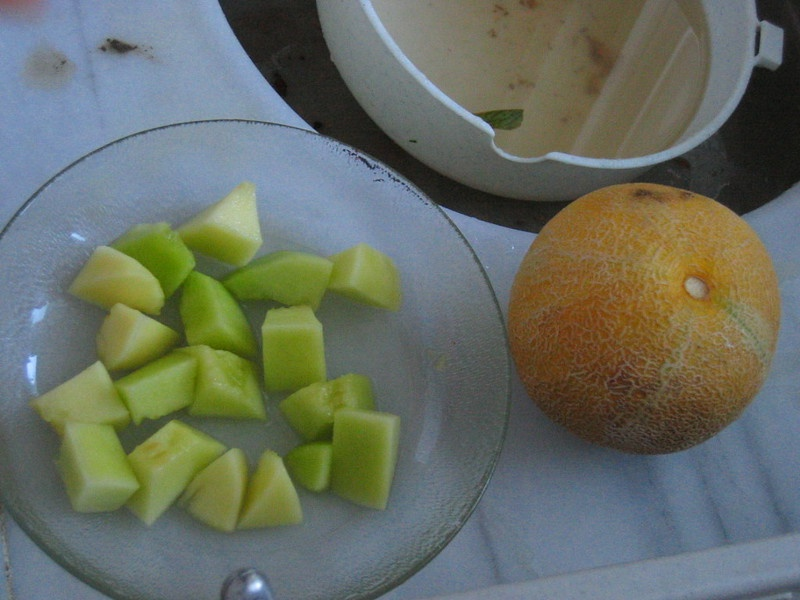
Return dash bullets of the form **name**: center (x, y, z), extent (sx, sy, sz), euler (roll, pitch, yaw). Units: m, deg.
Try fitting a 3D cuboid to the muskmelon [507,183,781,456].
- **muskmelon**: center (0.253, 0.013, 0.863), extent (0.268, 0.109, 0.273), euler (23, 78, -1)
